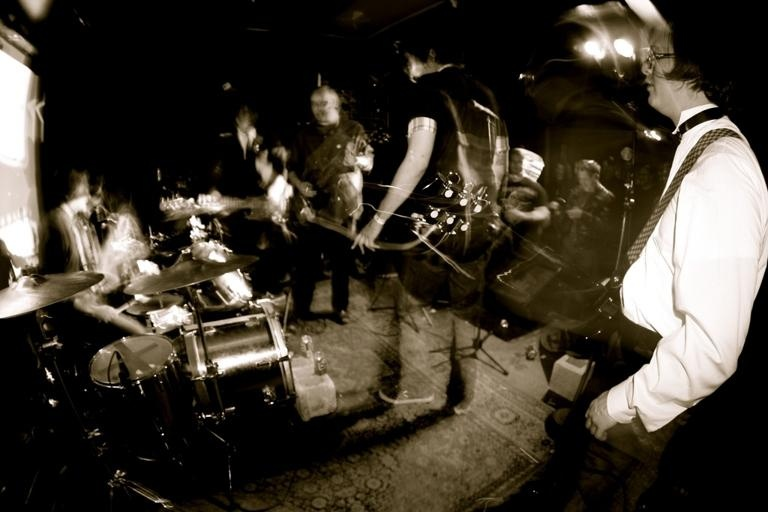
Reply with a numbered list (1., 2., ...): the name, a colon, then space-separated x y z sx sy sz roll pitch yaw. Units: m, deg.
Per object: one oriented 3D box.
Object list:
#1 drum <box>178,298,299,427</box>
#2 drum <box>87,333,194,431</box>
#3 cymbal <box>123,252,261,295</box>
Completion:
1. drum: -1.659 1.182 7.197 1.198 1.335 1.288 -15 42 -13
2. drum: -2.682 1.418 6.761 0.947 0.929 0.607 1 17 -3
3. cymbal: -2.077 0.193 6.579 0.718 0.142 0.690 -17 20 -26
